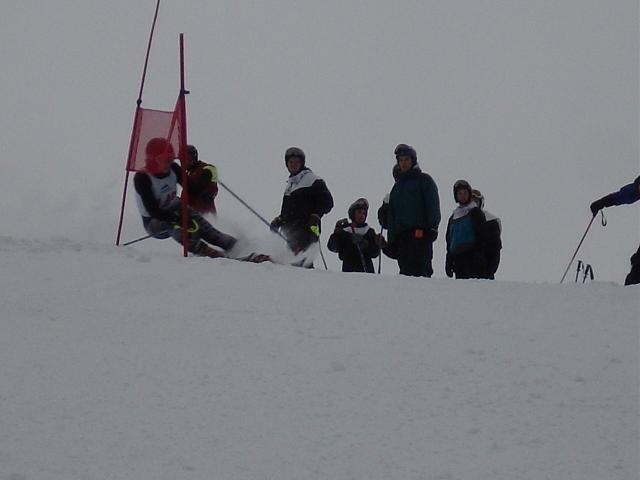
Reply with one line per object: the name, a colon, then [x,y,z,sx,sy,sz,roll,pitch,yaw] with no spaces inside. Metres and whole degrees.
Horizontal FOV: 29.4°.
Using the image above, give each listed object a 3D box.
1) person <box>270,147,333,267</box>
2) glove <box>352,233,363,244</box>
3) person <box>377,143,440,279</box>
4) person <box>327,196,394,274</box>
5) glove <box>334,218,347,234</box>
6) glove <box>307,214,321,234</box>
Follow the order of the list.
person: [-0.178,-0.382,11.939,0.588,0.999,0.388,3,12,2]
glove: [0.381,-0.022,12.336,0.065,0.105,0.097,-6,-5,7]
person: [0.890,-0.301,11.750,0.343,1.196,0.711,-2,14,-20]
person: [0.401,-0.006,11.511,0.489,0.476,1.201,-1,43,2]
glove: [0.244,-0.143,12.494,0.108,0.166,0.050,5,-6,-33]
glove: [-0.044,-0.166,11.866,0.138,0.274,0.188,-3,-8,2]
